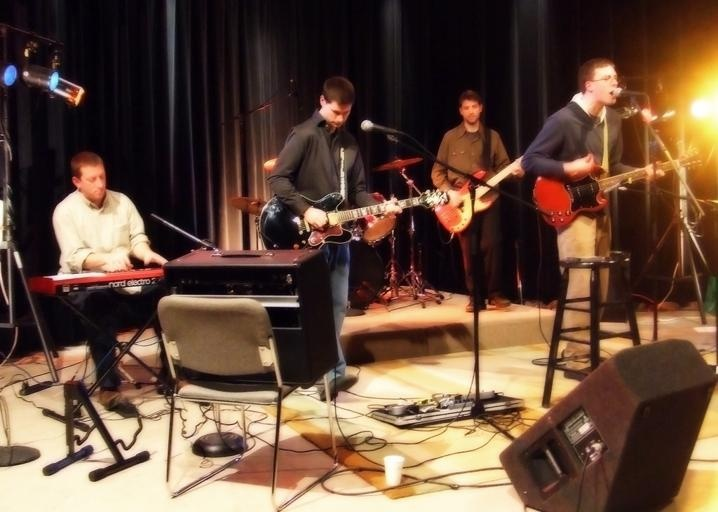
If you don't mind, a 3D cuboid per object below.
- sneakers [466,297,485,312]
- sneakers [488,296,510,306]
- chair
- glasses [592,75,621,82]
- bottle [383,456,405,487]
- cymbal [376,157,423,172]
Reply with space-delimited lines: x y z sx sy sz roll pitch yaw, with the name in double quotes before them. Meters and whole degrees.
"sneakers" 1.168 0.520 6.984 0.123 0.178 0.386 -4 -14 18
"sneakers" 1.416 0.478 7.087 0.084 0.093 0.208 -3 -4 -27
"chair" -0.556 0.746 4.326 0.872 1.659 1.141 1 5 16
"glasses" 1.870 -1.325 5.177 0.119 0.045 0.284 6 15 44
"bottle" 0.191 1.245 4.047 0.138 0.160 0.132 -3 6 -42
"cymbal" 0.484 -1.016 7.556 0.338 0.080 0.335 -18 16 -36
